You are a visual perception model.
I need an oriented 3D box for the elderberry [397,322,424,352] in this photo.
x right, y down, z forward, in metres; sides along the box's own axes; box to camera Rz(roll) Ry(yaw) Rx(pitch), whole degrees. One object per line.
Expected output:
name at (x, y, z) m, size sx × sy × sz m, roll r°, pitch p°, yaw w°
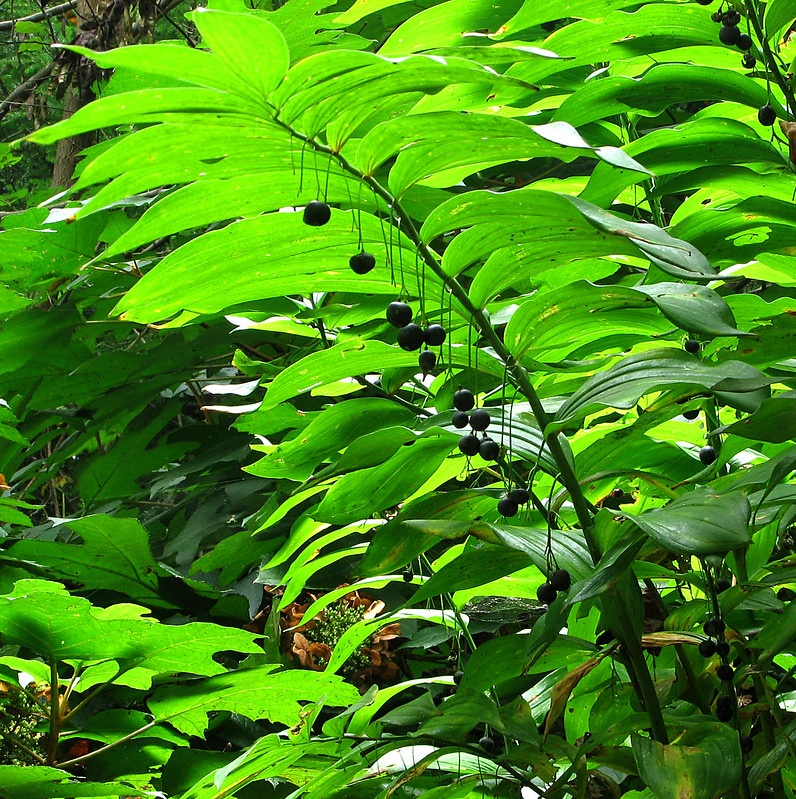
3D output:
elderberry at (0.014, -0.062, 0.905) m, size 0.036 × 0.027 × 0.029 m, roll -5°, pitch 10°, yaw -26°

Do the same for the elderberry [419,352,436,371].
elderberry at (0.027, -0.040, 0.956) m, size 0.026 × 0.019 × 0.020 m, roll 2°, pitch -5°, yaw -9°

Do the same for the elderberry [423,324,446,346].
elderberry at (0.042, -0.064, 0.916) m, size 0.030 × 0.022 × 0.024 m, roll 2°, pitch 6°, yaw 11°

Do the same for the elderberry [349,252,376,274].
elderberry at (-0.035, -0.134, 0.900) m, size 0.032 × 0.017 × 0.023 m, roll 2°, pitch -42°, yaw -14°

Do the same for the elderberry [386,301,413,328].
elderberry at (0.003, -0.085, 0.912) m, size 0.036 × 0.027 × 0.029 m, roll 0°, pitch 5°, yaw 20°
